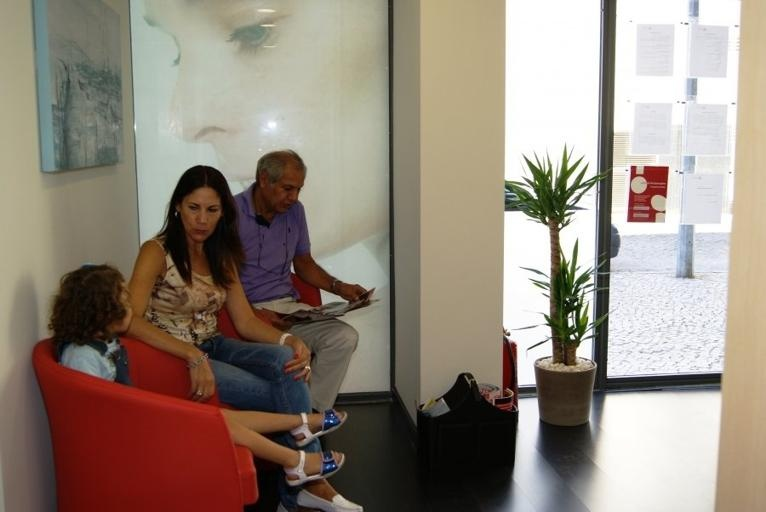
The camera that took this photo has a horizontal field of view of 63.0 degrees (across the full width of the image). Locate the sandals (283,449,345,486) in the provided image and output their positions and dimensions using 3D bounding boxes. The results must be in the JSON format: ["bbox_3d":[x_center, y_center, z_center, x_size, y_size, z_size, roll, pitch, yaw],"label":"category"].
[{"bbox_3d":[-0.364,1.060,3.203,0.305,0.163,0.145,-17,24,-16],"label":"sandals"}]

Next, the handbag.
[{"bbox_3d":[0.514,1.002,3.822,0.535,0.554,0.332,-1,3,-9],"label":"handbag"}]

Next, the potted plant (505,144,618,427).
[{"bbox_3d":[1.222,0.162,4.378,0.677,1.835,0.837,5,15,21],"label":"potted plant"}]

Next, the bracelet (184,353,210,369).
[{"bbox_3d":[-0.916,0.526,3.128,0.087,0.036,0.065,-6,3,37],"label":"bracelet"}]

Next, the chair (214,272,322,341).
[{"bbox_3d":[-0.684,0.300,3.860,0.355,0.488,0.395,-2,1,-15],"label":"chair"}]
